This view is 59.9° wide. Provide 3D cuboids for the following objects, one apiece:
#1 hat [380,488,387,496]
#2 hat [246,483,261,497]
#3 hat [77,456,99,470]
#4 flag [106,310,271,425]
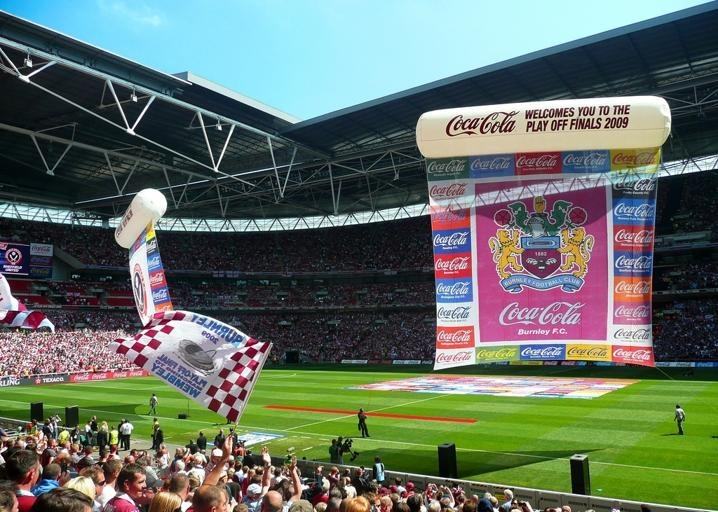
[{"bbox_3d":[0.700,6.686,17.752,0.280,0.225,0.298,-1,-26,7],"label":"hat"},{"bbox_3d":[-2.662,5.884,15.767,0.336,0.202,0.544,-1,-3,-12],"label":"hat"},{"bbox_3d":[-6.809,5.159,15.522,0.334,0.307,0.809,0,-3,-28],"label":"hat"},{"bbox_3d":[-4.579,3.064,17.984,3.749,2.936,0.704,-3,-4,15],"label":"flag"}]
